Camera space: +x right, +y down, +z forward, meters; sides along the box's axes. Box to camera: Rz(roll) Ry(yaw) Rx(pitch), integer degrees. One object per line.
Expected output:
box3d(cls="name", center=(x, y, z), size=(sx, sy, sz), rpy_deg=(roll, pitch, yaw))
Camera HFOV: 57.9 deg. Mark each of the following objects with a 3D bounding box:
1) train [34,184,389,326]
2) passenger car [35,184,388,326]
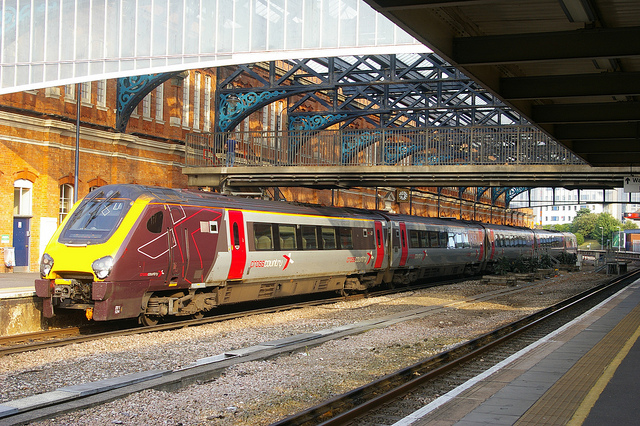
box3d(cls="train", center=(-1.999, 1.565, 23.025), size=(3.141, 3.700, 18.198), rpy_deg=(-5, -5, 32))
box3d(cls="passenger car", center=(-2.427, 1.283, 21.742), size=(2.887, 4.376, 15.385), rpy_deg=(-1, -1, 37))
